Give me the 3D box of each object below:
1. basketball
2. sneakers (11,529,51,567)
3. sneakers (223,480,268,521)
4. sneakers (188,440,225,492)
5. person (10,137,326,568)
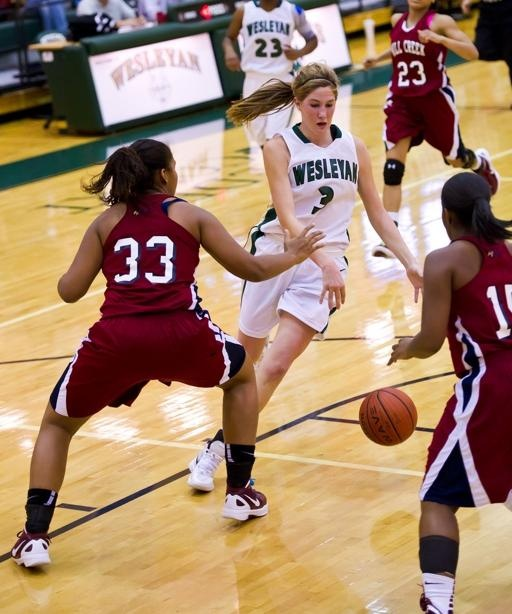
[{"bbox_3d":[0.437,0.362,2.131,0.204,0.199,0.190,-5,-8,5],"label":"basketball"},{"bbox_3d":[-0.678,0.705,1.917,0.073,0.080,0.185,3,4,-25],"label":"sneakers"},{"bbox_3d":[-0.029,0.631,2.153,0.085,0.140,0.229,-1,-9,27],"label":"sneakers"},{"bbox_3d":[-0.157,0.575,2.399,0.090,0.127,0.236,16,25,16],"label":"sneakers"},{"bbox_3d":[-0.242,0.047,1.918,0.800,1.121,0.352,-8,9,-5],"label":"person"}]
